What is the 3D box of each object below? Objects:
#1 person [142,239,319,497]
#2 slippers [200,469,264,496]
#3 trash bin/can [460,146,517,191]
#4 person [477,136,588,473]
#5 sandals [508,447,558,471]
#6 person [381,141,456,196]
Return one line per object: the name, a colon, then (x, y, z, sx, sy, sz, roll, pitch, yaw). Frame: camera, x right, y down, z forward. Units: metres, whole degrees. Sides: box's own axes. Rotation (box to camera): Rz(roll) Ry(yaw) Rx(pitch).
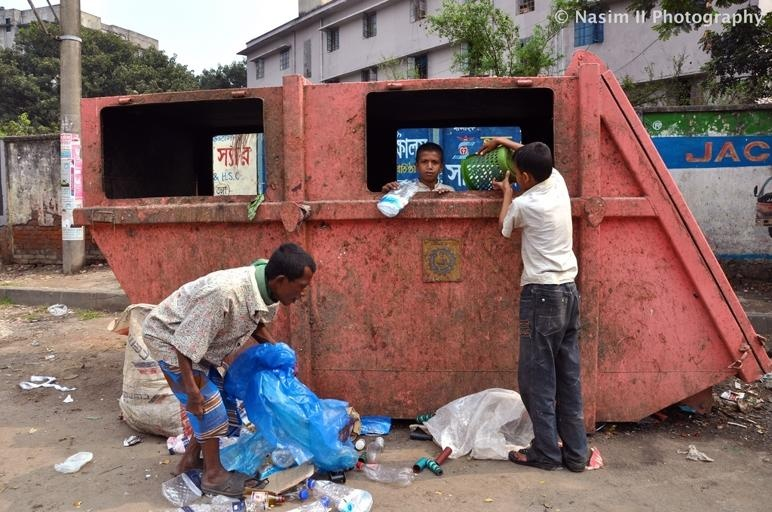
person: (-1.518, 0.987, 7.111, 1.482, 2.351, 0.980, 3, 11, -9)
slippers: (-1.383, 2.040, 6.970, 0.600, 0.263, 0.233, -3, 11, -4)
trash bin/can: (1.043, -0.893, 7.642, 0.343, 0.430, 0.470, -13, -15, 25)
person: (1.522, 0.473, 7.166, 0.743, 3.053, 0.357, -1, 4, 13)
sandals: (1.407, 1.859, 7.269, 0.456, 0.233, 0.177, 11, 3, 15)
person: (0.426, -0.931, 7.979, 0.669, 0.596, 1.115, 0, 4, 19)
